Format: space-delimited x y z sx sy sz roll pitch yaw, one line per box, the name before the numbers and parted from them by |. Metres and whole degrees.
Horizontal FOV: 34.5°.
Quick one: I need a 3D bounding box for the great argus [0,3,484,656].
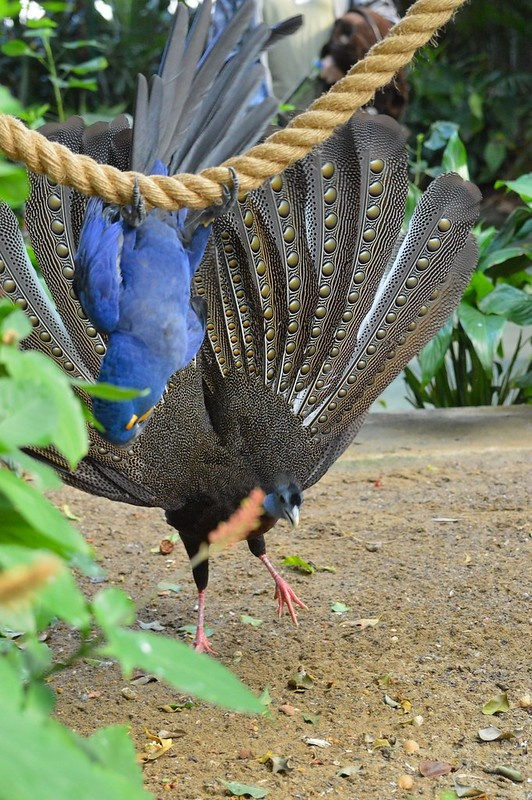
great argus | -0.041 -0.121 2.524 1.329 1.807 0.698 0 19 -34
